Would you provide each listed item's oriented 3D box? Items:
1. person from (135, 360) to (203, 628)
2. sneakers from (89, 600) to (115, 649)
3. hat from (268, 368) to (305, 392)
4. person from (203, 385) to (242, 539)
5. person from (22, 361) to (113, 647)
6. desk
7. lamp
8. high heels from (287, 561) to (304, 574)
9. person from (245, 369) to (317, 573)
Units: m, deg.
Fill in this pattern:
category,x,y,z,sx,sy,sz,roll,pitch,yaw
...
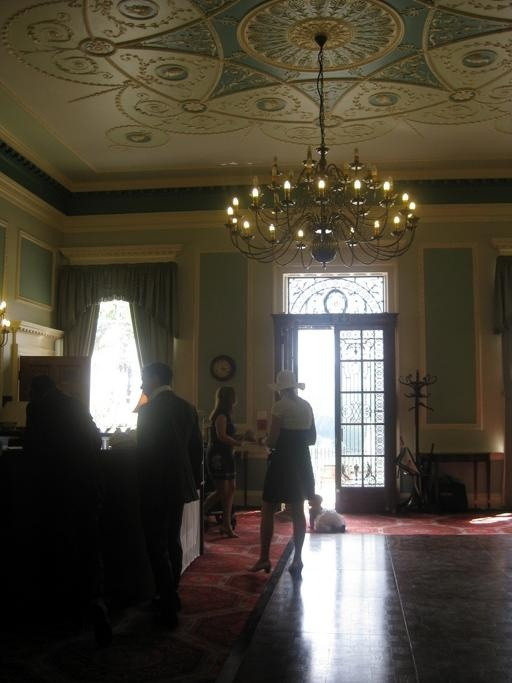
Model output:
category,x,y,z,sx,sy,sz,roll,pitch,yaw
person,-0.512,0.849,3.340,0.356,1.446,0.577,1,-10,-6
sneakers,-0.738,1.352,2.793,0.110,0.214,0.080,-4,7,37
hat,0.248,0.317,4.427,0.233,0.132,0.242,-2,-12,-10
person,-0.320,1.180,5.533,0.315,1.430,0.532,1,-10,-5
person,-0.964,0.824,2.933,0.456,1.296,0.426,4,-10,-22
desk,2.548,1.837,7.468,0.779,0.661,0.273,0,-6,6
lamp,0.592,-1.696,4.968,1.434,2.153,1.486,-2,-4,35
high heels,0.298,1.655,4.200,0.080,0.117,0.118,5,-24,-2
person,0.219,0.981,4.327,0.470,1.508,0.480,0,-9,2
